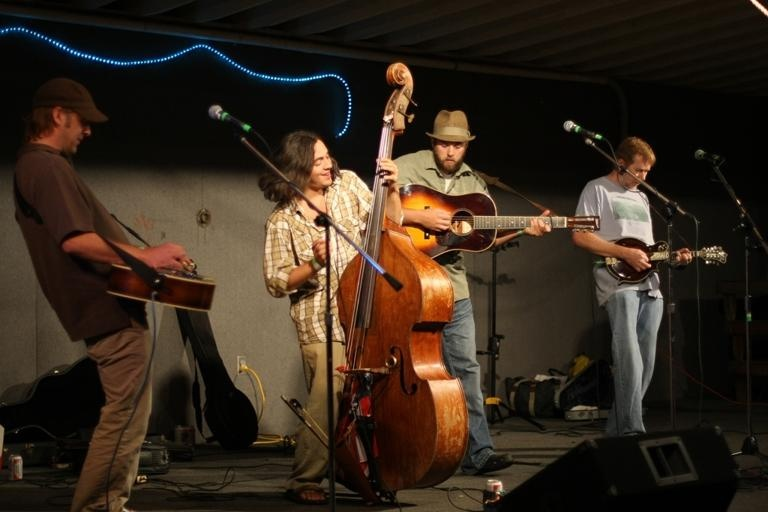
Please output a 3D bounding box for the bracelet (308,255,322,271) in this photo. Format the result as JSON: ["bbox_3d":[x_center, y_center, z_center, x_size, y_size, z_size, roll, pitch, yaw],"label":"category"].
[{"bbox_3d":[-0.503,0.054,6.993,0.064,0.033,0.115,6,-34,16],"label":"bracelet"}]

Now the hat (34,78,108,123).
[{"bbox_3d":[-2.300,-1.158,6.860,0.454,0.247,0.321,1,11,-22],"label":"hat"}]

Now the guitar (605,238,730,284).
[{"bbox_3d":[2.493,0.043,8.349,1.057,0.419,0.249,1,-5,-16],"label":"guitar"}]

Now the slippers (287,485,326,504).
[{"bbox_3d":[-0.604,1.862,7.255,0.231,0.079,0.127,2,-1,15],"label":"slippers"}]

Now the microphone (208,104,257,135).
[{"bbox_3d":[-1.116,-0.993,6.843,0.277,0.264,0.611,0,-5,-7],"label":"microphone"}]

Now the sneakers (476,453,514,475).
[{"bbox_3d":[0.942,1.763,7.924,0.281,0.108,0.165,-14,-9,0],"label":"sneakers"}]
